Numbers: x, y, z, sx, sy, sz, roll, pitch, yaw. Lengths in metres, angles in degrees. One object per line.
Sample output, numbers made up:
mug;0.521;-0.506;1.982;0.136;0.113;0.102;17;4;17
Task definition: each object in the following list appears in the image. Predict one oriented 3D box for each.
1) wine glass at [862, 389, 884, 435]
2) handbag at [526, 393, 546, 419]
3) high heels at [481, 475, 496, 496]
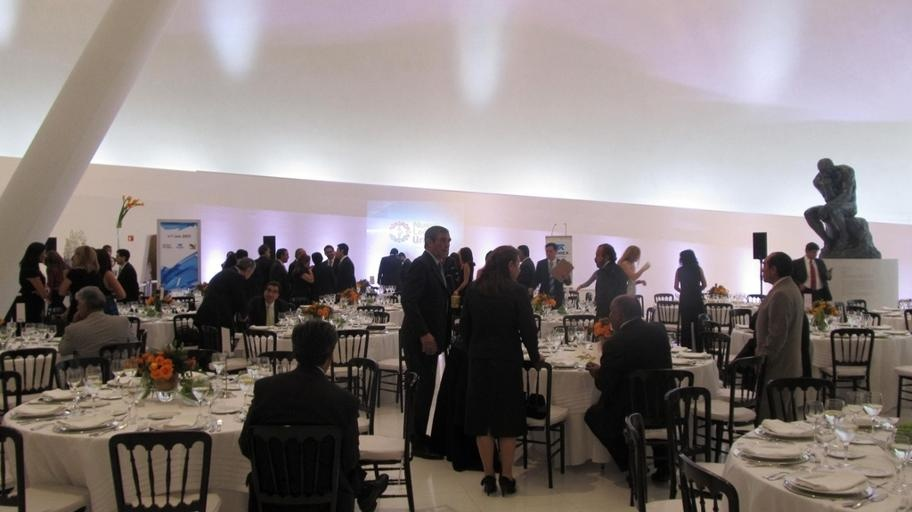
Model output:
wine glass;4.733;1.761;7.377;0.210;0.429;0.215;-5;-15;37
handbag;1.128;2.079;9.084;0.257;0.318;0.344;-1;-13;13
high heels;0.467;3.087;8.738;0.121;0.153;0.350;-1;-1;5
